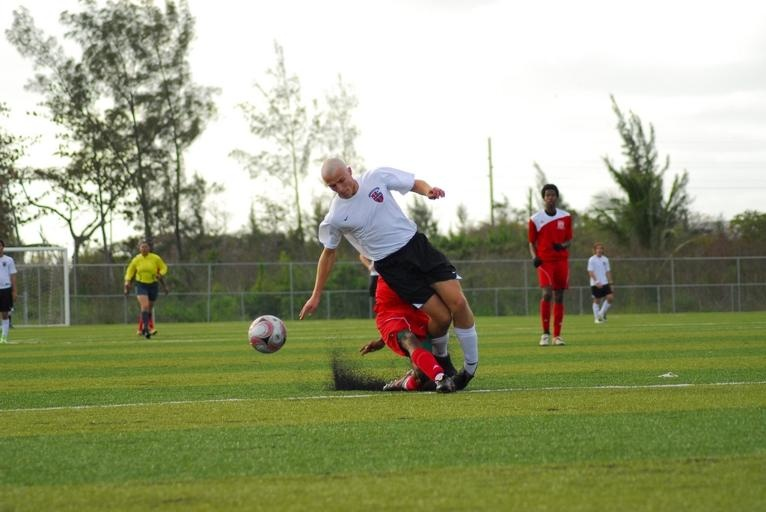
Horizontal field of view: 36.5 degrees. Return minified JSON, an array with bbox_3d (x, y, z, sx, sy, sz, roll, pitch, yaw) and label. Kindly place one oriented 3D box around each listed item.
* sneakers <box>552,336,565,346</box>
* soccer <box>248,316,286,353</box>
[{"bbox_3d":[4.024,1.912,26.755,0.293,0.229,0.588,-2,-5,9],"label":"sneakers"},{"bbox_3d":[-2.140,1.478,22.479,0.691,0.699,0.705,-3,-4,23],"label":"soccer"}]
